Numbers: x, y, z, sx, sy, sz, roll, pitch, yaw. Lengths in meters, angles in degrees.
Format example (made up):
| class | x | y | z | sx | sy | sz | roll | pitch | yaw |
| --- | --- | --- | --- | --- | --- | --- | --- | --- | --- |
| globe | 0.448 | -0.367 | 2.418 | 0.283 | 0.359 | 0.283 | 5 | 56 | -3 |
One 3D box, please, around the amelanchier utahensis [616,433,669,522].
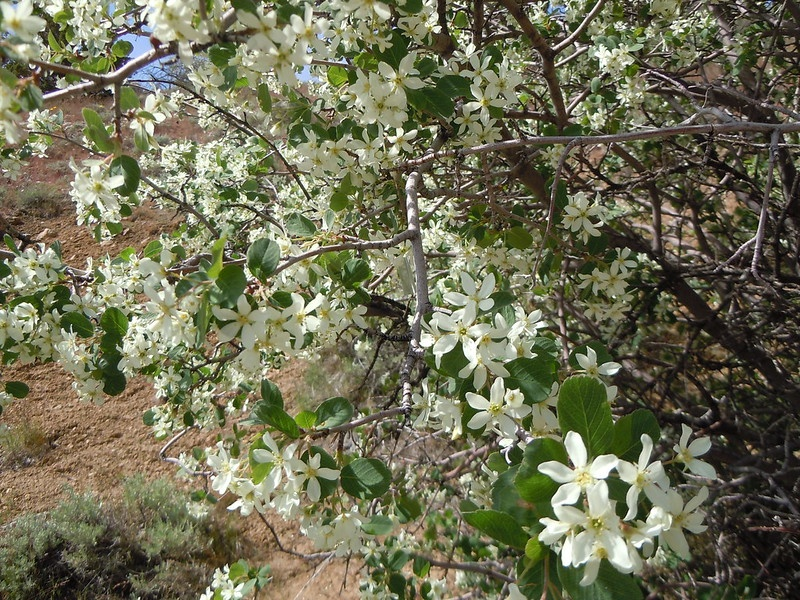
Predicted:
| class | x | y | z | sx | sy | sz | roll | pitch | yaw |
| --- | --- | --- | --- | --- | --- | --- | --- | --- | --- |
| amelanchier utahensis | 0.995 | 0.736 | 2.907 | 0.236 | 0.421 | 0.135 | -7 | -63 | 30 |
